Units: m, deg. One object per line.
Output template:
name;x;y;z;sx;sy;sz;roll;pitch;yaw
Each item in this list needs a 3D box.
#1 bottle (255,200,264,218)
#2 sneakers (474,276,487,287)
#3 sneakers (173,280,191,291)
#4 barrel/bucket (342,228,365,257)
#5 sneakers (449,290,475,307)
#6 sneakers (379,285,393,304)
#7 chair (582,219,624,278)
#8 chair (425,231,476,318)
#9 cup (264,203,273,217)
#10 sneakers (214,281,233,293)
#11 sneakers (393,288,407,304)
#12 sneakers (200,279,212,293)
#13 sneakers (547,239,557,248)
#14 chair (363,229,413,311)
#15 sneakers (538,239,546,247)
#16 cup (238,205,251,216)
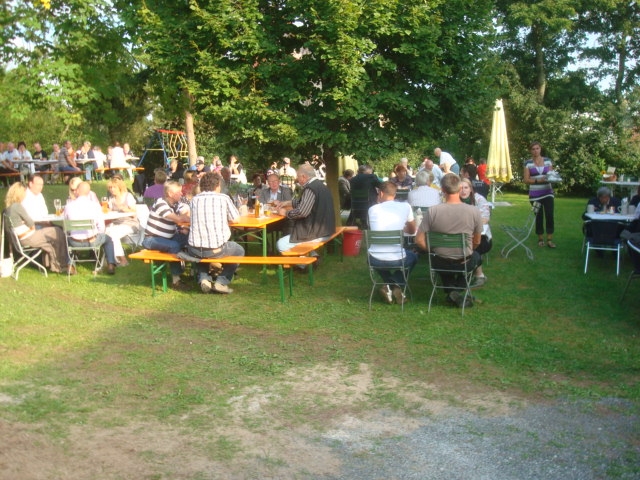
bottle;-1.066;-0.543;11.441;0.112;0.367;0.358;-1;2;14
sneakers;2.433;0.626;9.874;0.141;0.137;0.342;-5;16;29
sneakers;-2.257;0.750;10.671;0.287;0.122;0.150;-4;2;39
barrel/bucket;0.721;0.058;12.820;0.479;0.452;0.464;-3;7;0
sneakers;2.068;0.854;9.509;0.333;0.225;0.112;7;1;-10
sneakers;1.005;0.827;9.789;0.232;0.287;0.660;0;-4;11
chair;4.925;0.027;11.260;0.687;1.000;0.786;0;19;14
chair;1.932;0.396;9.486;0.677;1.258;1.092;3;15;13
cup;-0.934;-0.548;11.672;0.184;0.304;0.190;0;-2;0
sneakers;-1.534;0.756;10.319;0.308;0.136;0.138;6;13;-43
sneakers;1.188;0.833;9.622;0.123;0.300;0.128;-1;45;27
sneakers;-1.794;0.734;10.290;0.145;0.219;0.204;-1;-4;-8
sneakers;4.750;0.051;13.263;0.123;0.155;0.383;-1;14;21
chair;1.100;0.361;9.968;0.736;1.222;1.314;2;14;8
sneakers;4.563;0.041;13.284;0.106;0.121;0.266;2;15;17
cup;-1.328;-0.544;11.473;0.153;0.219;0.202;-2;-11;-7
